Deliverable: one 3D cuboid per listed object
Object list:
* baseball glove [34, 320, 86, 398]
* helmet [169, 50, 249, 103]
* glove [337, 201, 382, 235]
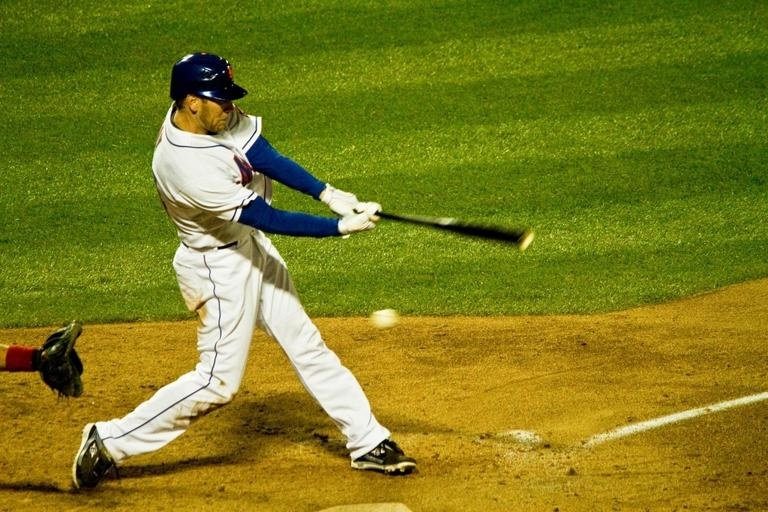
[{"bbox_3d":[-2.943,0.871,12.573,0.346,0.665,0.382,33,55,1],"label":"baseball glove"},{"bbox_3d":[-1.561,-1.589,12.205,0.574,0.295,0.412,2,27,3],"label":"helmet"},{"bbox_3d":[-0.221,-0.345,12.290,0.358,0.108,0.263,-22,46,-4],"label":"glove"}]
